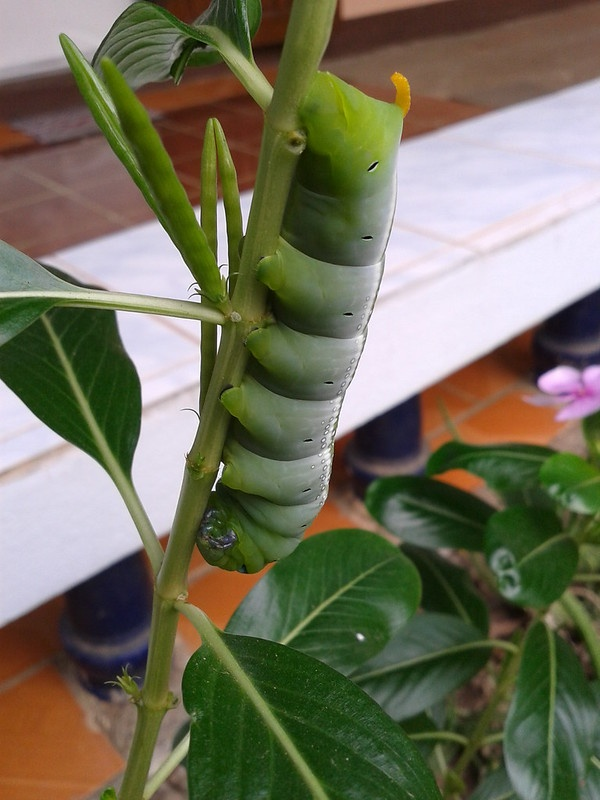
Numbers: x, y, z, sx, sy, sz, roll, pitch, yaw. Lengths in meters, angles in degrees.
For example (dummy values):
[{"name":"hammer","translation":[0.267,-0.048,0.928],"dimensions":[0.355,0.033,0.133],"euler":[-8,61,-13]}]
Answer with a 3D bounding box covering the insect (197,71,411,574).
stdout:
[{"name":"insect","translation":[-0.001,-0.013,0.326],"dimensions":[0.094,0.225,0.117],"euler":[-7,14,-15]}]
